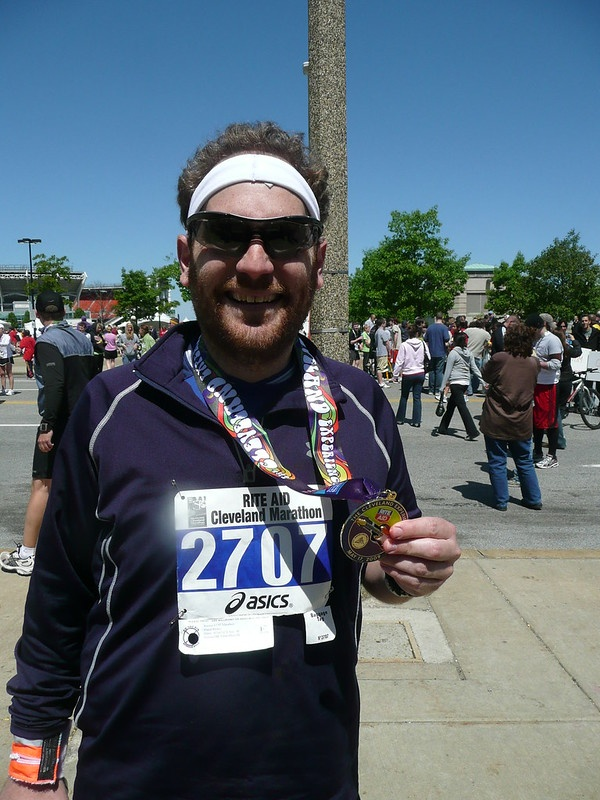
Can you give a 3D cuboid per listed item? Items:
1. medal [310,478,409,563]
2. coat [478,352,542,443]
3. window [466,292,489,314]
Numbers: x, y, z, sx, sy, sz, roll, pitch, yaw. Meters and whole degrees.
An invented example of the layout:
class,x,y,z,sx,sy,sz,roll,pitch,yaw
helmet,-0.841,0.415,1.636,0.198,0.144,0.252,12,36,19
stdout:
class,x,y,z,sx,sy,sz,roll,pitch,yaw
medal,0.101,0.224,1.265,0.145,0.049,0.167,33,-33,-16
coat,1.905,-0.036,6.481,0.473,0.808,0.336,3,7,16
window,24.322,-13.547,98.225,3.106,2.714,1.083,-3,8,-33
